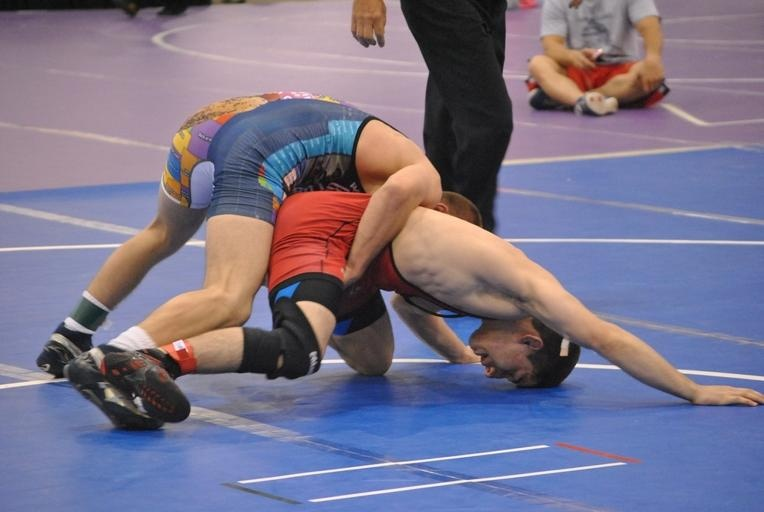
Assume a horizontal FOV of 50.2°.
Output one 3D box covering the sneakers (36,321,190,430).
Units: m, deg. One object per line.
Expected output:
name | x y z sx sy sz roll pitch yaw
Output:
sneakers | -0.916 0.420 2.793 0.398 0.133 0.177 31 40 5

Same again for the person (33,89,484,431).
person | -0.440 -0.109 3.496 1.030 1.489 1.666 17 -1 42

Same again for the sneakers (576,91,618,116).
sneakers | 2.139 -1.508 8.076 0.435 0.183 0.189 2 14 -28

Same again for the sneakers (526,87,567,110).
sneakers | 1.659 -1.611 8.323 0.308 0.118 0.207 15 10 30

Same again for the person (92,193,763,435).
person | -0.053 0.308 2.949 1.736 0.500 1.052 0 13 -17
